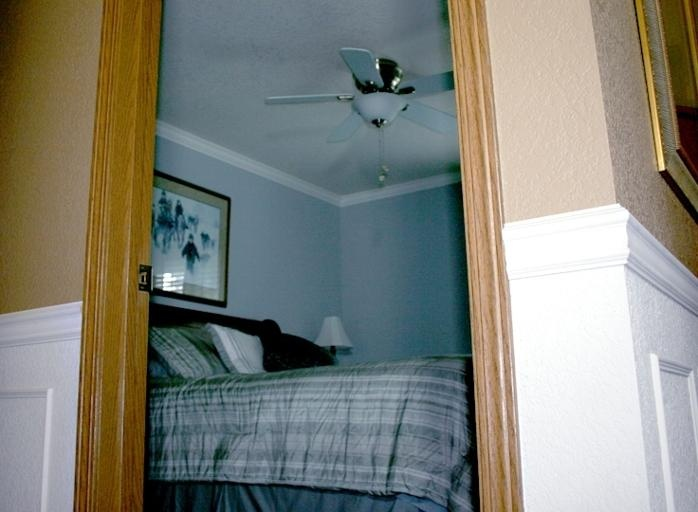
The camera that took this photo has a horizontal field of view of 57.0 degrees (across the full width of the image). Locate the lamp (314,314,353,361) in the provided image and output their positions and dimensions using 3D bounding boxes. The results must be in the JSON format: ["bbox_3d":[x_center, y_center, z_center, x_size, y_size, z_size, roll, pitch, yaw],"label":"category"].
[{"bbox_3d":[-0.170,0.746,5.862,0.368,0.534,0.354,3,-25,-14],"label":"lamp"}]

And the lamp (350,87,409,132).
[{"bbox_3d":[0.180,-0.850,3.750,0.426,0.167,0.432,-5,6,-34],"label":"lamp"}]
